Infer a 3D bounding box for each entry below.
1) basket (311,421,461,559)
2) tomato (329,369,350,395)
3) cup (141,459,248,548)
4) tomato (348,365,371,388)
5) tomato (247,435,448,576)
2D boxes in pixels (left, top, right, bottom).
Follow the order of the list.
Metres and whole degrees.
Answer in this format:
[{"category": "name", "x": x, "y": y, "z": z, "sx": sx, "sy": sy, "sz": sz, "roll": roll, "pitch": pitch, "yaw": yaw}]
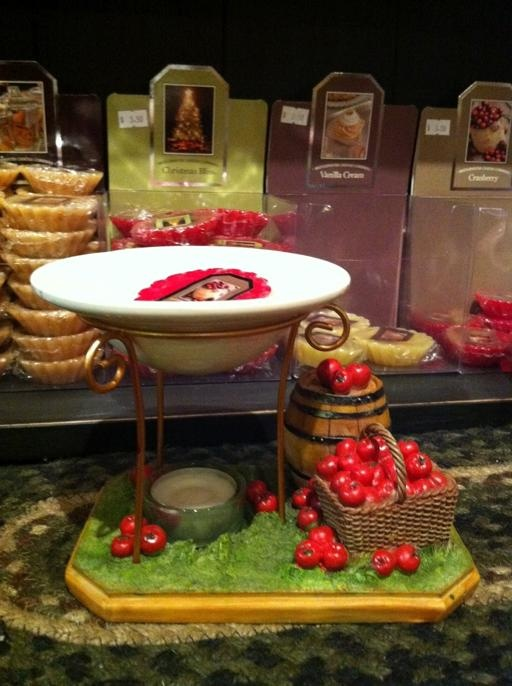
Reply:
[{"category": "basket", "x": 0.286, "y": 0.330, "z": 1.379, "sx": 0.328, "sy": 0.236, "sz": 0.303, "roll": -6, "pitch": 11, "yaw": -11}, {"category": "tomato", "x": 0.229, "y": 0.101, "z": 1.505, "sx": 0.058, "sy": 0.065, "sz": 0.063, "roll": 3, "pitch": 15, "yaw": 14}, {"category": "cup", "x": -0.162, "y": 0.382, "z": 1.425, "sx": 0.196, "sy": 0.071, "sz": 0.168, "roll": 2, "pitch": 16, "yaw": 0}, {"category": "tomato", "x": 0.272, "y": 0.081, "z": 1.521, "sx": 0.066, "sy": 0.056, "sz": 0.063, "roll": -7, "pitch": 14, "yaw": -33}, {"category": "tomato", "x": 0.209, "y": 0.375, "z": 1.330, "sx": 0.408, "sy": 0.205, "sz": 0.257, "roll": -2, "pitch": 19, "yaw": 5}]
